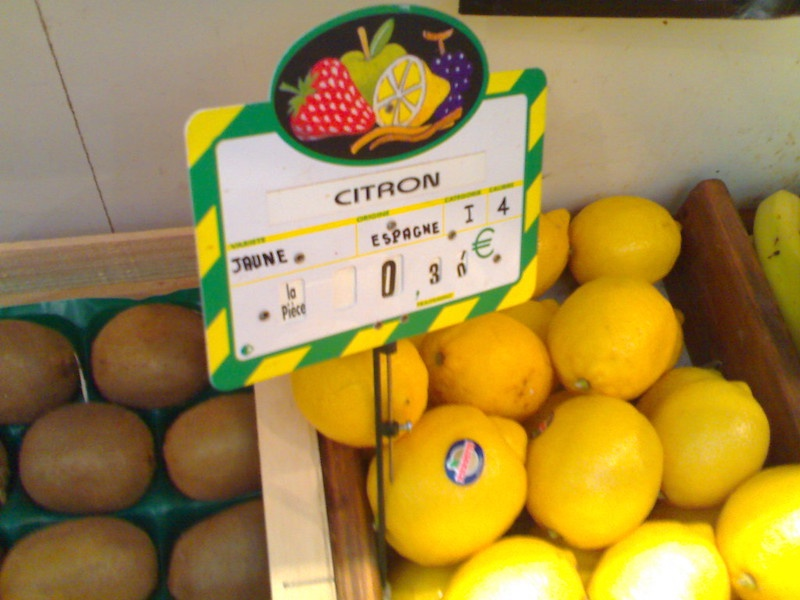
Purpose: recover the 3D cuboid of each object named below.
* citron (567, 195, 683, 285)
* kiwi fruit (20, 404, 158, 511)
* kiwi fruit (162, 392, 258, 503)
[{"bbox_3d":[0.415,-0.097,1.363,0.232,0.197,0.204,-2,75,22],"label":"citron"},{"bbox_3d":[-0.452,0.234,1.108,0.162,0.139,0.133,5,37,0],"label":"kiwi fruit"},{"bbox_3d":[-0.293,0.222,1.174,0.155,0.130,0.120,-13,8,-22],"label":"kiwi fruit"}]
